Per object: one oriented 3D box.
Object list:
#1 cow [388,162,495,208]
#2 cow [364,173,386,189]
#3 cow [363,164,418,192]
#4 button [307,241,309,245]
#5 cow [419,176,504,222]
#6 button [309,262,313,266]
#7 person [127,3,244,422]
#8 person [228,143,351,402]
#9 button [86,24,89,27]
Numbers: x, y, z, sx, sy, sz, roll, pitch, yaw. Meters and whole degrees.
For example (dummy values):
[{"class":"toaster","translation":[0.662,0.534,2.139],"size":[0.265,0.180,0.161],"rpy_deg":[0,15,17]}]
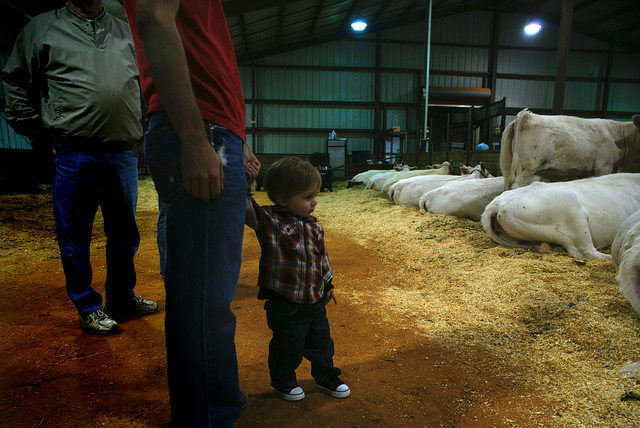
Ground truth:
[{"class":"cow","translation":[2.207,-0.520,8.273],"size":[1.410,0.489,0.749],"rpy_deg":[-21,-30,9]},{"class":"cow","translation":[1.485,-0.829,12.066],"size":[0.333,0.423,1.070],"rpy_deg":[-1,8,-8]},{"class":"cow","translation":[1.771,-0.907,11.550],"size":[0.820,0.491,1.633],"rpy_deg":[9,29,41]},{"class":"button","translation":[-0.089,0.209,3.313],"size":[0.028,0.025,0.027],"rpy_deg":[0,-5,-4]},{"class":"cow","translation":[2.208,-0.241,7.087],"size":[1.354,0.486,0.731],"rpy_deg":[-12,-1,31]},{"class":"button","translation":[-0.069,0.361,3.295],"size":[0.032,0.029,0.031],"rpy_deg":[0,-5,-2]},{"class":"person","translation":[-0.777,-0.022,2.890],"size":[0.607,2.648,0.531],"rpy_deg":[-1,9,-11]},{"class":"person","translation":[-0.172,0.469,3.319],"size":[0.704,1.715,0.380],"rpy_deg":[0,9,-4]},{"class":"button","translation":[-1.880,-1.533,3.704],"size":[0.019,0.017,0.007],"rpy_deg":[-4,10,-26]}]
